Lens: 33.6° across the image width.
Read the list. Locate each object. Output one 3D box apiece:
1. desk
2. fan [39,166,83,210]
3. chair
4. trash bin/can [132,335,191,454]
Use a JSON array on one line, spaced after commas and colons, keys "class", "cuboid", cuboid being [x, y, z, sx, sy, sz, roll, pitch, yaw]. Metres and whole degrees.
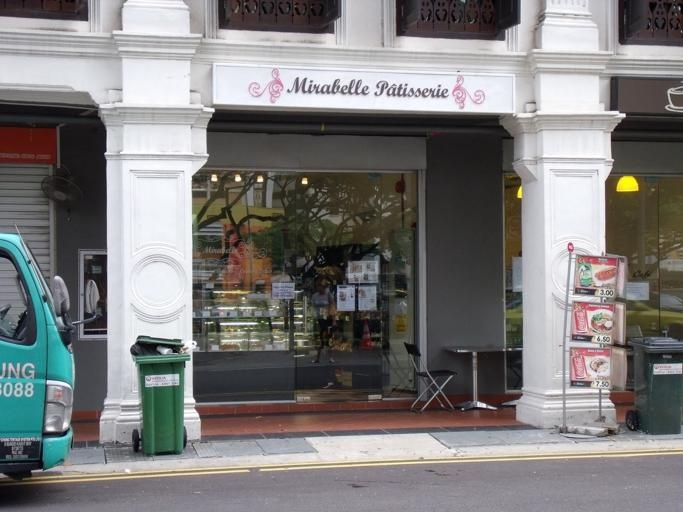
[{"class": "desk", "cuboid": [2.387, 2.084, 19.488, 1.086, 1.069, 1.100, 1, -5, -5]}, {"class": "fan", "cuboid": [-4.612, -1.137, 18.720, 0.614, 0.725, 0.180, -2, -3, 5]}, {"class": "chair", "cuboid": [1.491, 1.996, 19.753, 0.715, 0.985, 0.612, 0, -25, 10]}, {"class": "trash bin/can", "cuboid": [-2.564, 1.975, 16.407, 0.866, 1.602, 0.791, 2, 1, -21]}]
